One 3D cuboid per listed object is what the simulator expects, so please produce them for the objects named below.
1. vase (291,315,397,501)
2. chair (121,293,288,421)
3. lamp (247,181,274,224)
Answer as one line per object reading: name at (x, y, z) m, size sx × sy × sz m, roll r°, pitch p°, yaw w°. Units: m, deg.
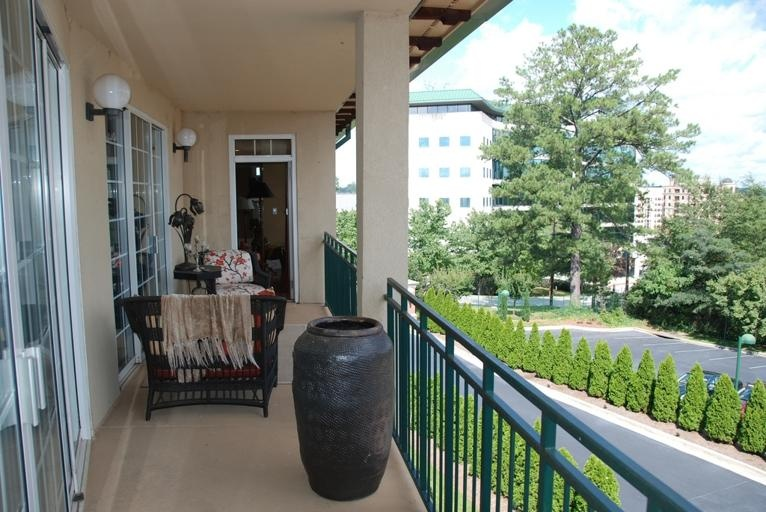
vase at (-0.245, 0.911, 3.313) m, size 0.642 × 1.034 × 0.638 m, roll 5°, pitch 8°, yaw 34°
chair at (-1.482, 0.745, 4.633) m, size 1.321 × 1.063 × 1.480 m, roll 3°, pitch 7°, yaw -7°
lamp at (-2.179, -1.008, 9.132) m, size 0.525 × 0.942 × 0.535 m, roll -6°, pitch 14°, yaw -24°
